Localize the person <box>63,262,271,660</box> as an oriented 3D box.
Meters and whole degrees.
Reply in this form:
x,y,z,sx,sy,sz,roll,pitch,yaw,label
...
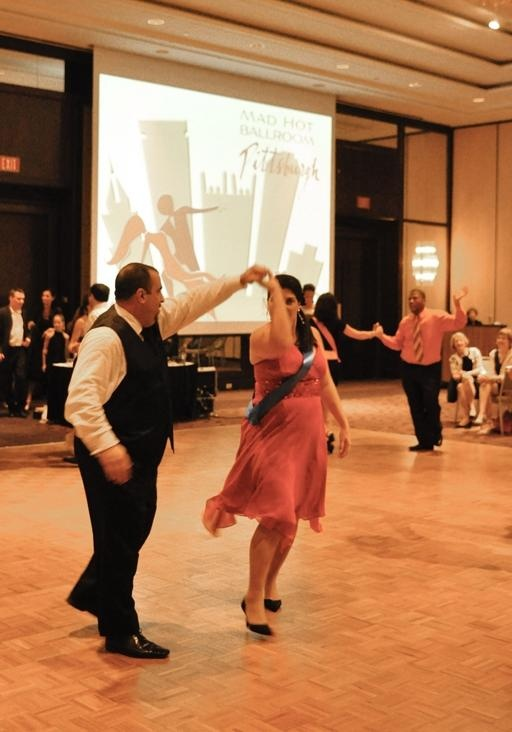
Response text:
x,y,z,sx,sy,sz,roll,pitch,yaw,label
-0.355,0.328,2.106,0.631,1.321,0.598,1,-3,-27,person

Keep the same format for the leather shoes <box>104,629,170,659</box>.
x,y,z,sx,sy,sz,roll,pitch,yaw,label
-0.399,0.926,2.149,0.245,0.095,0.088,-1,-4,12,leather shoes

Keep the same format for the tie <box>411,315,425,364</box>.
x,y,z,sx,sy,sz,roll,pitch,yaw,label
1.781,-0.308,6.994,0.128,0.569,0.128,-1,-3,16,tie

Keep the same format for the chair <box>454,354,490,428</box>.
x,y,z,sx,sy,sz,roll,pitch,yaw,label
2.981,0.147,8.976,0.398,1.232,0.677,-8,-1,28,chair
